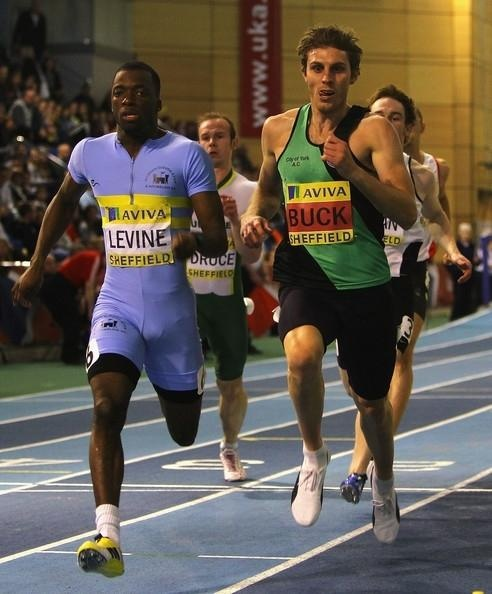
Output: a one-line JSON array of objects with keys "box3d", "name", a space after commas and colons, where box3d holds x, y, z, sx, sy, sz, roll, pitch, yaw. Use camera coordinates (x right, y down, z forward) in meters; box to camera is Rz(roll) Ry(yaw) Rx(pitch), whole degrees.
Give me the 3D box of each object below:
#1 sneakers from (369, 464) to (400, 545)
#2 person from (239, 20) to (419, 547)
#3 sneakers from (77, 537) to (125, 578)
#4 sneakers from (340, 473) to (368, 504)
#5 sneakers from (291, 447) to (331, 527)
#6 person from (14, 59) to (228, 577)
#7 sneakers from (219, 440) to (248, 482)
[{"box3d": [0.549, 0.828, 3.296, 0.105, 0.282, 0.118, -5, -9, 14], "name": "sneakers"}, {"box3d": [0.309, -0.028, 3.304, 0.597, 2.047, 0.717, -5, 12, -14], "name": "person"}, {"box3d": [-0.378, 0.725, 2.308, 0.070, 0.082, 0.181, -5, -14, 14], "name": "sneakers"}, {"box3d": [0.514, 0.897, 3.901, 0.075, 0.097, 0.201, 41, -8, 3], "name": "sneakers"}, {"box3d": [0.243, 0.730, 3.257, 0.120, 0.322, 0.135, 8, -13, 16], "name": "sneakers"}, {"box3d": [-0.404, 0.139, 3.075, 0.755, 2.011, 1.416, -4, 12, -10], "name": "person"}, {"box3d": [-0.074, 0.992, 5.046, 0.097, 0.103, 0.269, -7, 31, -13], "name": "sneakers"}]
